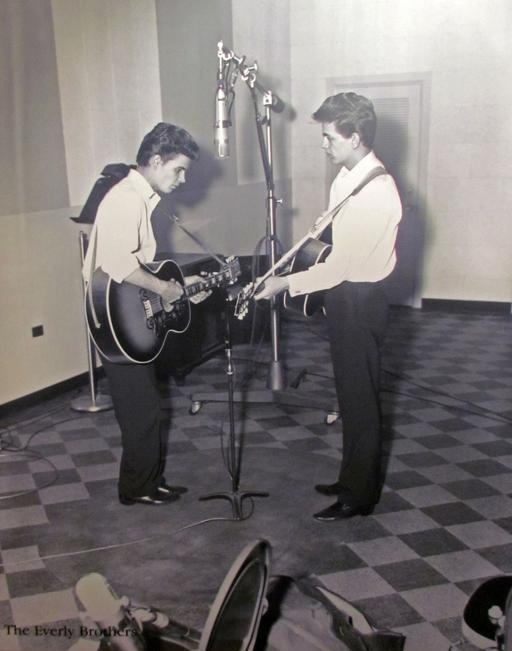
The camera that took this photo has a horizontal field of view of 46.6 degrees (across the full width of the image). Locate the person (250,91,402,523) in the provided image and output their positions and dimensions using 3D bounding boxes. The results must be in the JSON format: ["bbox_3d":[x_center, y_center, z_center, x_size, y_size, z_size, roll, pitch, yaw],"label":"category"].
[{"bbox_3d":[0.317,-0.049,2.368,0.450,1.641,0.385,0,10,3],"label":"person"}]

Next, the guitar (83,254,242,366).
[{"bbox_3d":[-0.379,-0.056,2.386,0.642,0.397,0.277,-8,12,-37],"label":"guitar"}]

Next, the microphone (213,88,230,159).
[{"bbox_3d":[-0.150,-0.887,2.620,0.058,0.290,0.152,-2,10,-3],"label":"microphone"}]

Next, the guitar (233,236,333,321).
[{"bbox_3d":[0.153,-0.259,2.675,0.129,0.259,0.494,35,58,31],"label":"guitar"}]

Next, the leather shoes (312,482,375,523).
[{"bbox_3d":[0.385,0.739,2.461,0.320,0.141,0.101,2,6,-4],"label":"leather shoes"}]
